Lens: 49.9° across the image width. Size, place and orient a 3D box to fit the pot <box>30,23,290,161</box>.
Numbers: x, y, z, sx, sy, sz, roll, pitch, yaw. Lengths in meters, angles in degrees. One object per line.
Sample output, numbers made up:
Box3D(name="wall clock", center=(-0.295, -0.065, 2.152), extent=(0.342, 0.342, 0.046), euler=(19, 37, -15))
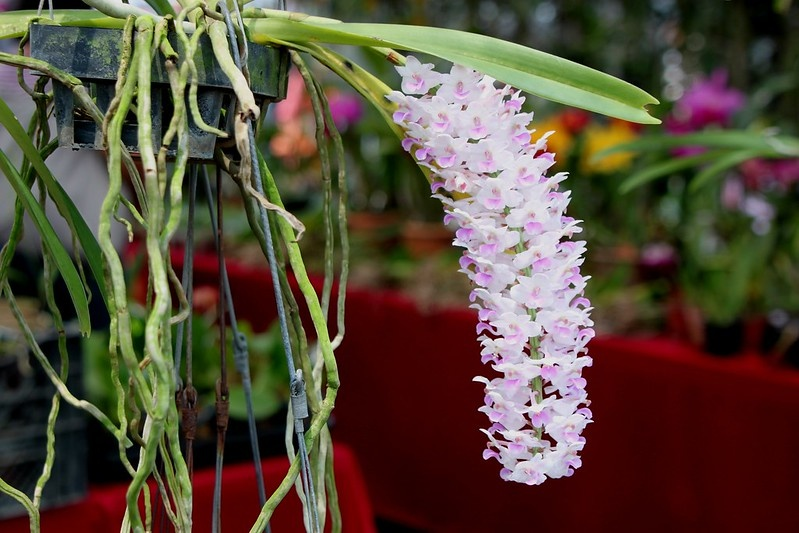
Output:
Box3D(name="pot", center=(-0.328, -0.186, 1.134), extent=(0.261, 0.132, 0.182), euler=(3, -1, -33))

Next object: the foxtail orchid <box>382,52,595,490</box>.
Box3D(name="foxtail orchid", center=(0.162, -0.008, 1.146), extent=(0.180, 0.584, 0.265), euler=(-18, 25, -26))
